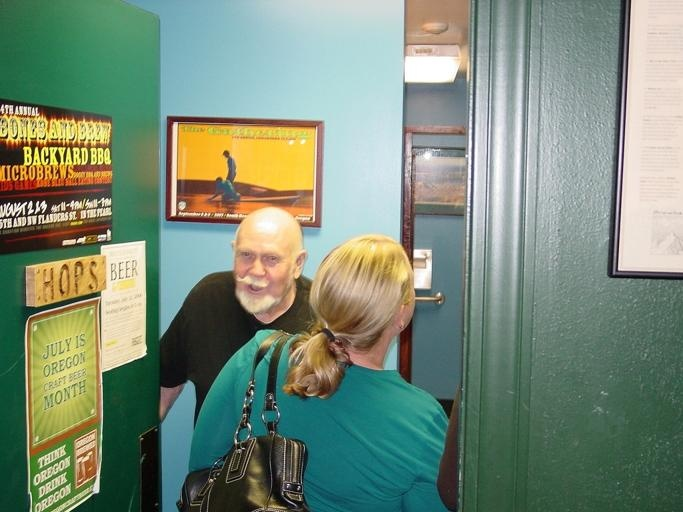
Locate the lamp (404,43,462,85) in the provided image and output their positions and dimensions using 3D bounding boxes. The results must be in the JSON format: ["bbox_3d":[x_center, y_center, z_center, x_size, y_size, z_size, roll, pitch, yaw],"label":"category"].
[{"bbox_3d":[0.407,-0.871,2.435,0.233,0.099,0.389,0,8,8],"label":"lamp"}]
